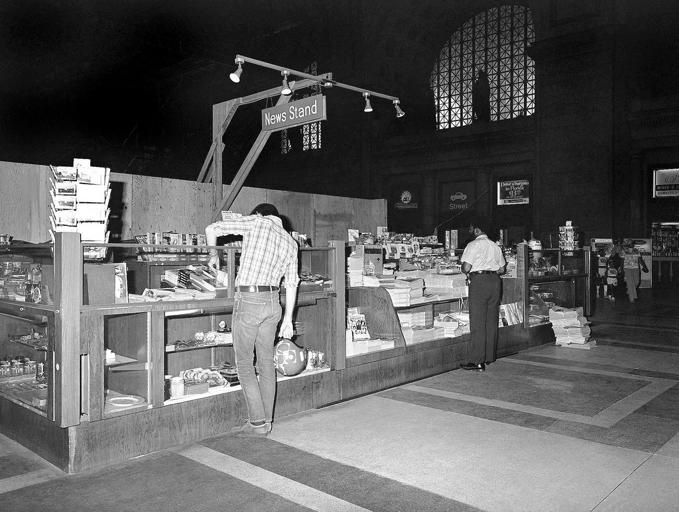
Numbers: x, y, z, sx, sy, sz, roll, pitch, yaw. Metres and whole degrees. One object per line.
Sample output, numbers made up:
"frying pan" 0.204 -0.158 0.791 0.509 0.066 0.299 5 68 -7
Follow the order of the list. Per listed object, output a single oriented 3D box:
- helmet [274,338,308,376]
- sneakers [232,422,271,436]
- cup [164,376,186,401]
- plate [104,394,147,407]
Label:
"helmet" -0.570 1.153 6.744 0.384 0.336 0.425 6 12 -5
"sneakers" -0.919 1.786 6.157 0.391 0.166 0.149 2 -4 15
"cup" -1.697 1.382 6.105 0.209 0.220 0.171 -1 -4 -1
"plate" -2.104 1.432 5.756 0.353 0.065 0.207 -2 6 -24
